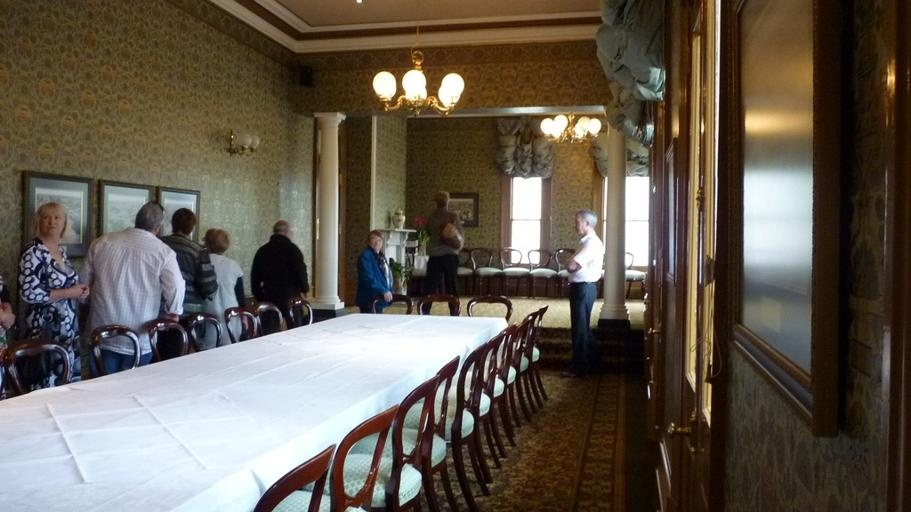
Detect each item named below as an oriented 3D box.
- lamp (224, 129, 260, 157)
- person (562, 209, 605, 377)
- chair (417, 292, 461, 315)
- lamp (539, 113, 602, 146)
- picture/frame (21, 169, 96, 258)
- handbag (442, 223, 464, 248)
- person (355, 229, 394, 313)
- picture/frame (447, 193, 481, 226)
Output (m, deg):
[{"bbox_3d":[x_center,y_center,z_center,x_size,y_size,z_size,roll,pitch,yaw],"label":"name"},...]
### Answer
[{"bbox_3d":[-2.750,-1.443,8.530,0.291,0.349,0.432,3,10,14],"label":"lamp"},{"bbox_3d":[1.569,0.491,7.899,0.405,2.049,0.805,-1,4,11],"label":"person"},{"bbox_3d":[-0.211,0.588,7.646,0.448,0.317,1.189,-2,4,-3],"label":"chair"},{"bbox_3d":[2.004,-2.211,11.442,0.985,0.478,0.868,1,4,32],"label":"lamp"},{"bbox_3d":[-3.617,-0.381,5.924,0.067,0.907,0.783,-3,-7,31],"label":"picture/frame"},{"bbox_3d":[-0.030,-0.257,9.066,0.129,0.277,0.317,-21,-6,-16],"label":"handbag"},{"bbox_3d":[-1.007,0.223,8.064,0.438,1.034,0.925,-2,4,-9],"label":"person"},{"bbox_3d":[0.188,-0.871,12.599,0.853,0.865,0.060,2,-4,-4],"label":"picture/frame"}]
